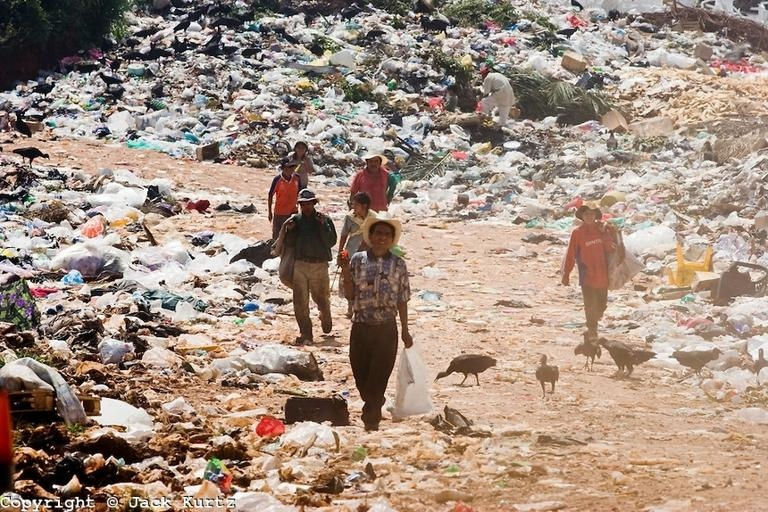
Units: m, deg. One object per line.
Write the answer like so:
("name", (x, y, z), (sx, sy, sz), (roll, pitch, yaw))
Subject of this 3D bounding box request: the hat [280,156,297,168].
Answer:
("hat", (-1.406, -1.348, 15.236), (0.230, 0.097, 0.141), (-1, 18, 8))

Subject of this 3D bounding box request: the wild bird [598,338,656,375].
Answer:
("wild bird", (3.094, 1.293, 13.585), (0.693, 0.434, 0.444), (3, 7, 11))

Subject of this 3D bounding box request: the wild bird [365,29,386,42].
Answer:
("wild bird", (-0.293, -5.791, 27.768), (0.721, 0.194, 0.333), (-9, -41, -1))

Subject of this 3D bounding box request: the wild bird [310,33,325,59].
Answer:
("wild bird", (-1.737, -5.397, 27.148), (0.223, 0.629, 0.539), (16, -34, -34))

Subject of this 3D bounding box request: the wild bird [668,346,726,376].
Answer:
("wild bird", (3.979, 1.322, 13.459), (0.595, 0.294, 0.430), (-4, 8, -37))

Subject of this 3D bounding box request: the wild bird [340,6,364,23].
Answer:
("wild bird", (-0.973, -6.837, 29.791), (0.530, 0.561, 1.321), (2, 6, 2))

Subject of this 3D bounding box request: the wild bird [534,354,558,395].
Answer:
("wild bird", (1.998, 1.413, 13.050), (0.277, 0.501, 0.811), (3, 7, 10))

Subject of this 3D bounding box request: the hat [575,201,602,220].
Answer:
("hat", (2.723, -0.634, 14.275), (0.385, 0.157, 0.442), (-5, -31, 6))

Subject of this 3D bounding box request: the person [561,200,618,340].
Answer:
("person", (2.744, 0.141, 14.193), (0.676, 1.675, 0.370), (7, 10, 34))

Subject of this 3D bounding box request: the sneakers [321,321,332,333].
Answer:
("sneakers", (-0.796, 0.968, 14.294), (0.177, 0.152, 0.154), (0, -3, -12))

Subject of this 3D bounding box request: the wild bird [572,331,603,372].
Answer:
("wild bird", (2.635, 1.229, 13.783), (0.326, 0.439, 0.510), (3, 7, 9))

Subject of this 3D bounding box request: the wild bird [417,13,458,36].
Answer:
("wild bird", (1.501, -6.278, 29.147), (1.448, 0.626, 0.370), (4, -22, -17))
